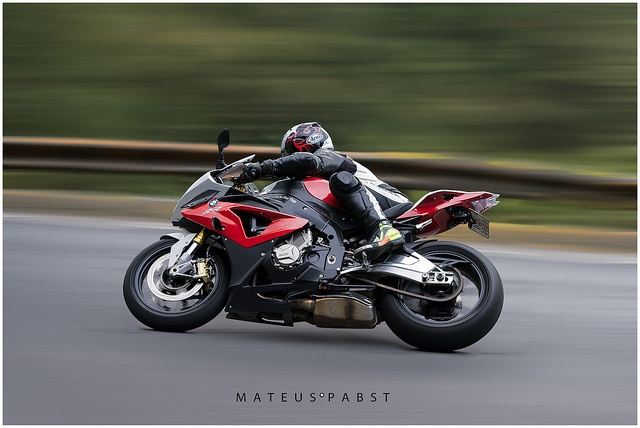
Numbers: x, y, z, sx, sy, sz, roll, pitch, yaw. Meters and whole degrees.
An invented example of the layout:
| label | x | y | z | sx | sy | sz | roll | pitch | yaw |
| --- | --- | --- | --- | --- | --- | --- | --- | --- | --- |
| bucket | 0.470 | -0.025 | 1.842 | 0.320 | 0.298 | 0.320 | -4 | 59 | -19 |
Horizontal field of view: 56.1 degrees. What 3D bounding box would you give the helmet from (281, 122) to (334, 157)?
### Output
| label | x | y | z | sx | sy | sz | roll | pitch | yaw |
| --- | --- | --- | --- | --- | --- | --- | --- | --- | --- |
| helmet | -0.111 | -0.972 | 7.557 | 0.714 | 0.335 | 0.413 | -5 | 0 | 9 |
